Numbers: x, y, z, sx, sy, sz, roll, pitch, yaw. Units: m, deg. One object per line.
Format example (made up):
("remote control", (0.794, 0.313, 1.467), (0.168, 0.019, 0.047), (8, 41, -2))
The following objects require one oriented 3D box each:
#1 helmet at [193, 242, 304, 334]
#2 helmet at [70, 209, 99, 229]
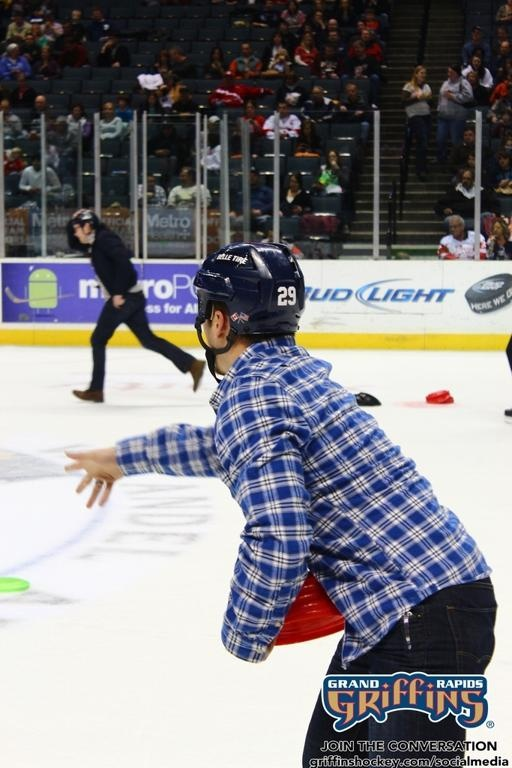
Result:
("helmet", (-0.011, -0.171, 1.485), (0.177, 0.144, 0.207), (-7, 15, -27))
("helmet", (-1.731, -1.709, 8.715), (0.287, 0.222, 0.206), (9, 2, 25))
